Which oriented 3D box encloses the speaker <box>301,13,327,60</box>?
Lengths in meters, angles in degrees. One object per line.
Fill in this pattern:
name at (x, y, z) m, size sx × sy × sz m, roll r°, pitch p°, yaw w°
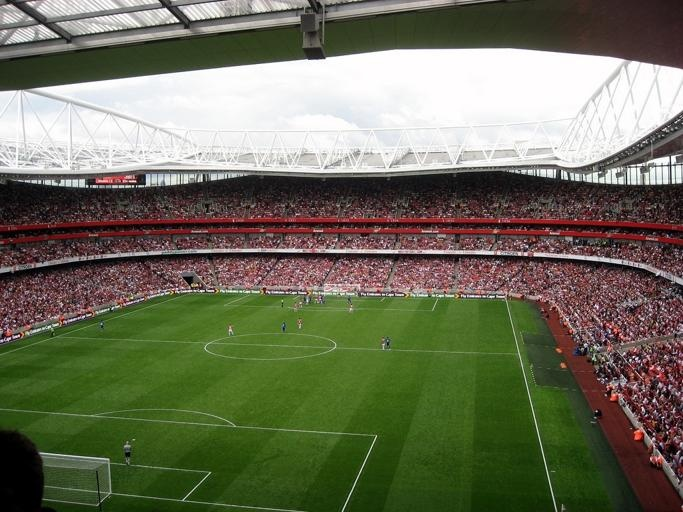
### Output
speaker at (-0.528, -4.000, 9.073) m, size 0.413 × 0.950 × 0.866 m, roll -2°, pitch 8°, yaw -2°
